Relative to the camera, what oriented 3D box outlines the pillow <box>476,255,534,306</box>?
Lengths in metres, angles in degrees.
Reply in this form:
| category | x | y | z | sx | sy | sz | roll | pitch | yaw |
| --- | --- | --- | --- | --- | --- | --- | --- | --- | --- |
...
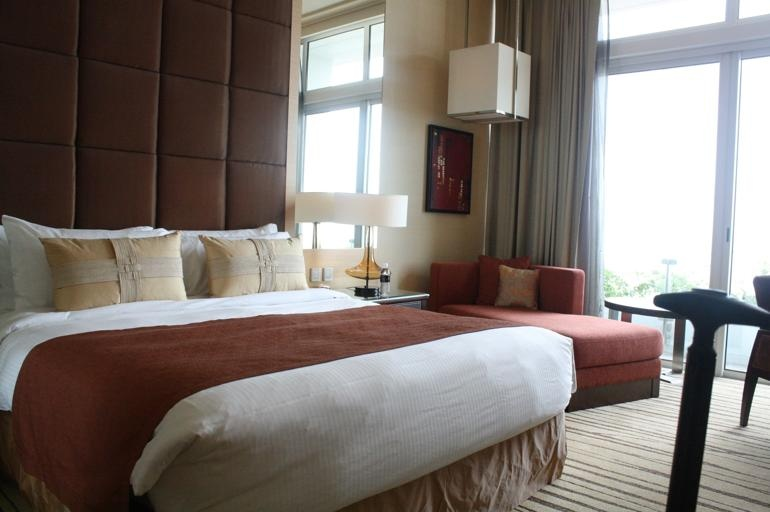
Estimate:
| category | x | y | z | sx | sy | sz | roll | pitch | yaw |
| --- | --- | --- | --- | --- | --- | --- | --- | --- | --- |
| pillow | 1.188 | 0.261 | 5.592 | 0.436 | 0.452 | 0.174 | 0 | -22 | 30 |

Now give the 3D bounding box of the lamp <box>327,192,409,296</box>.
| category | x | y | z | sx | sy | sz | roll | pitch | yaw |
| --- | --- | --- | --- | --- | --- | --- | --- | --- | --- |
| lamp | -0.101 | -0.120 | 5.306 | 0.794 | 1.282 | 0.815 | 1 | 0 | 3 |

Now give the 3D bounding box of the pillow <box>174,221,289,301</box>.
| category | x | y | z | sx | sy | sz | roll | pitch | yaw |
| --- | --- | --- | --- | --- | --- | --- | --- | --- | --- |
| pillow | -1.362 | 0.068 | 4.249 | 0.603 | 0.579 | 0.177 | -5 | -6 | -42 |

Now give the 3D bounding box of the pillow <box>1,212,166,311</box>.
| category | x | y | z | sx | sy | sz | roll | pitch | yaw |
| --- | --- | --- | --- | --- | --- | --- | --- | --- | --- |
| pillow | -1.957 | 0.059 | 3.620 | 0.606 | 0.399 | 0.155 | 5 | -24 | -36 |

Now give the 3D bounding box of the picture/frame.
| category | x | y | z | sx | sy | sz | roll | pitch | yaw |
| --- | --- | --- | --- | --- | --- | --- | --- | --- | --- |
| picture/frame | 0.702 | -0.930 | 6.145 | 0.745 | 0.933 | 0.143 | -7 | 15 | -41 |
